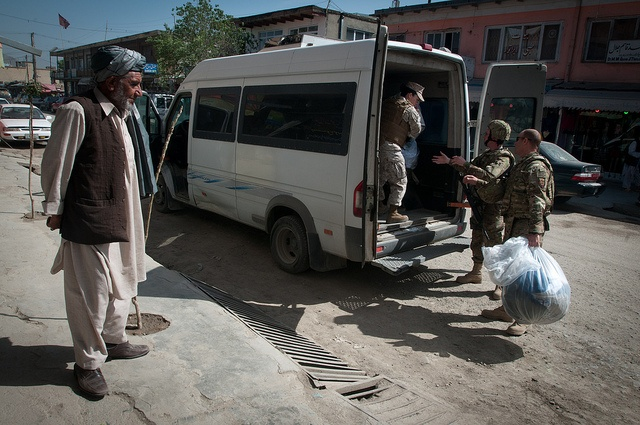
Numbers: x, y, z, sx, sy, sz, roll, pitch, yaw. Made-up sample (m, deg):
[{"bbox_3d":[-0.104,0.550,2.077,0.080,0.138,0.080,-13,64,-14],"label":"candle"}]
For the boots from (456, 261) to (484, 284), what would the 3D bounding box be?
[{"bbox_3d":[2.354,0.963,6.677,0.494,0.374,0.220,6,9,21],"label":"boots"}]

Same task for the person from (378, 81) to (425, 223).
[{"bbox_3d":[1.196,-0.937,6.413,0.644,2.102,0.940,7,14,11],"label":"person"}]

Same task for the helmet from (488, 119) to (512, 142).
[{"bbox_3d":[2.573,-1.175,5.982,0.262,0.268,0.336,0,38,-2],"label":"helmet"}]

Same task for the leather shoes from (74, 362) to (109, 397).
[{"bbox_3d":[-2.011,1.466,3.654,0.421,0.148,0.156,25,22,34],"label":"leather shoes"}]

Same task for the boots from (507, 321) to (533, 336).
[{"bbox_3d":[2.600,1.501,5.418,0.431,0.170,0.142,3,5,-17],"label":"boots"}]

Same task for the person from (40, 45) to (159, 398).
[{"bbox_3d":[-1.933,0.029,3.741,0.809,2.990,0.885,13,16,34],"label":"person"}]

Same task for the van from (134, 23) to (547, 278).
[{"bbox_3d":[-0.439,-1.387,7.711,5.844,2.713,3.932,19,25,40],"label":"van"}]

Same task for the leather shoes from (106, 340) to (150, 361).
[{"bbox_3d":[-1.873,1.323,4.057,0.410,0.159,0.138,0,11,-19],"label":"leather shoes"}]

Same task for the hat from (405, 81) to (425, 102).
[{"bbox_3d":[1.546,-1.911,6.458,0.388,0.159,0.254,31,6,-8],"label":"hat"}]
